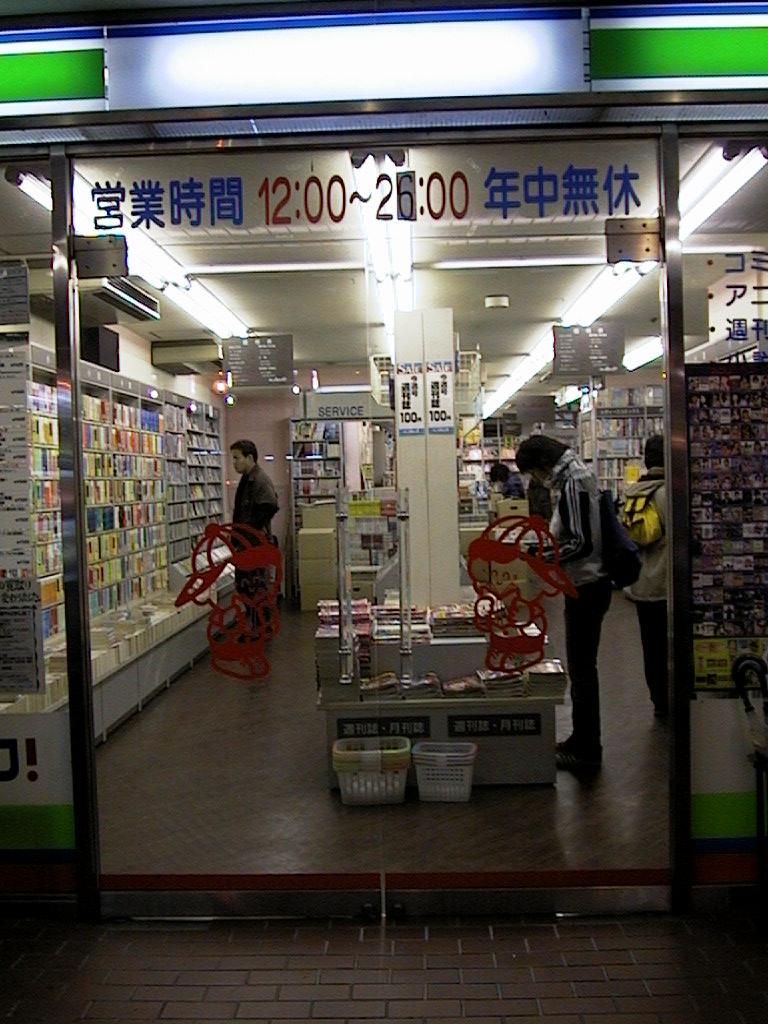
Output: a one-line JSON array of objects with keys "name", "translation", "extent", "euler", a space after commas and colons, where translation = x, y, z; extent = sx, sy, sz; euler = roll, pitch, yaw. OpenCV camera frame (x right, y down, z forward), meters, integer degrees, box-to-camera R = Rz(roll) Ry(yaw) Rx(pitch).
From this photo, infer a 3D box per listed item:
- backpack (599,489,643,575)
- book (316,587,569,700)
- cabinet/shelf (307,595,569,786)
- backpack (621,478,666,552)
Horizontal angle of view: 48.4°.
[{"name": "backpack", "translation": [0.990, 0.121, 3.653], "extent": [0.129, 0.312, 0.257], "euler": [-2, 3, 7]}, {"name": "book", "translation": [0.211, 0.515, 3.344], "extent": [0.956, 0.447, 0.473], "euler": [0, 12, 3]}, {"name": "cabinet/shelf", "translation": [0.228, 0.678, 3.545], "extent": [0.853, 0.499, 0.833], "euler": [0, 2, 0]}, {"name": "backpack", "translation": [1.221, 0.003, 4.001], "extent": [0.172, 0.280, 0.273], "euler": [1, 6, -3]}]
